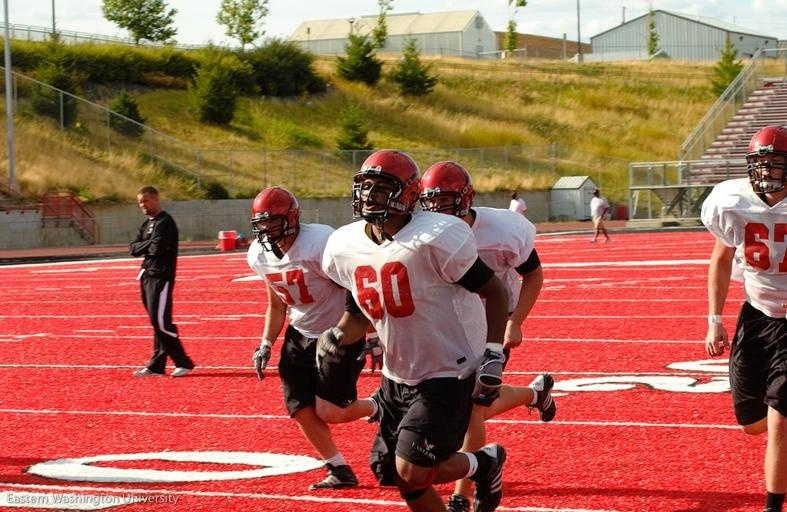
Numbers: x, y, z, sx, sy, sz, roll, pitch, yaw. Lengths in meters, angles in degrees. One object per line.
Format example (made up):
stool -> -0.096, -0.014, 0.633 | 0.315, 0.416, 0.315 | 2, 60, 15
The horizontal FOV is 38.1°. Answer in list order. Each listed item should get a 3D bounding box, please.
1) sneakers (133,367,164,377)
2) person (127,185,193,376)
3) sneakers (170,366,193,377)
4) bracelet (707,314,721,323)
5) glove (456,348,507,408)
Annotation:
sneakers -> -3.911, 1.852, 18.200 | 0.535, 0.167, 0.169 | 0, 4, 6
person -> -3.719, 0.398, 18.180 | 0.904, 2.978, 1.032 | -2, 12, -11
sneakers -> -3.412, 1.836, 18.079 | 0.405, 0.131, 0.138 | 5, -3, -32
bracelet -> 3.980, 0.779, 14.208 | 0.133, 0.062, 0.124 | 0, 3, 27
glove -> 1.020, 1.540, 13.663 | 0.323, 0.756, 0.383 | 20, 29, 9
